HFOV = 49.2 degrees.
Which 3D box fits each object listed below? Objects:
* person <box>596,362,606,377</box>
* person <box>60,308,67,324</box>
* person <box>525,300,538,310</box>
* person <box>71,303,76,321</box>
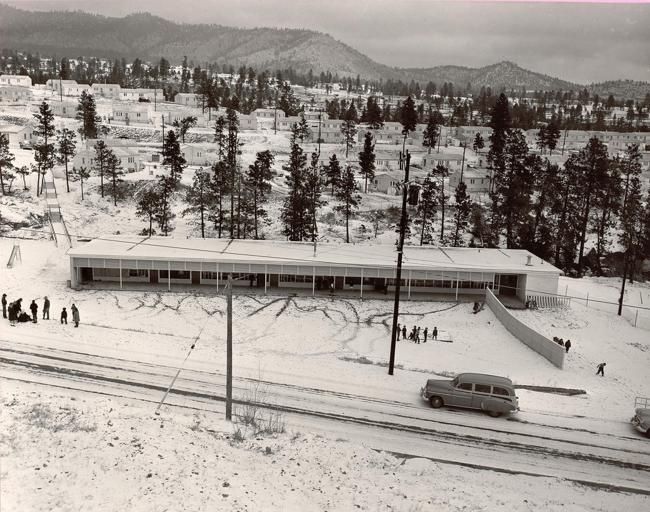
[{"bbox_3d":[18.067,7.227,46.459,0.556,0.964,1.937,6,12,22],"label":"person"},{"bbox_3d":[-17.367,3.930,47.456,0.477,1.185,2.151,-2,12,-20],"label":"person"},{"bbox_3d":[16.619,3.895,57.058,1.120,0.596,0.997,-5,13,-31],"label":"person"},{"bbox_3d":[-16.558,3.816,47.194,0.291,1.122,1.281,-2,12,-19],"label":"person"}]
